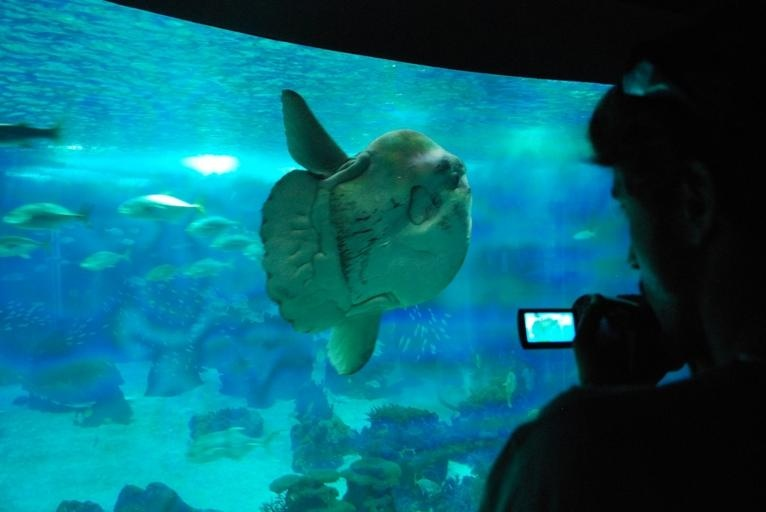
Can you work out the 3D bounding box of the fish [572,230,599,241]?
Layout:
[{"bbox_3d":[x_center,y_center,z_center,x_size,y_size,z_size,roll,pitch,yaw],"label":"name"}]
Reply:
[{"bbox_3d":[7.123,-0.731,25.610,0.734,0.320,0.165,0,-42,7],"label":"fish"}]
